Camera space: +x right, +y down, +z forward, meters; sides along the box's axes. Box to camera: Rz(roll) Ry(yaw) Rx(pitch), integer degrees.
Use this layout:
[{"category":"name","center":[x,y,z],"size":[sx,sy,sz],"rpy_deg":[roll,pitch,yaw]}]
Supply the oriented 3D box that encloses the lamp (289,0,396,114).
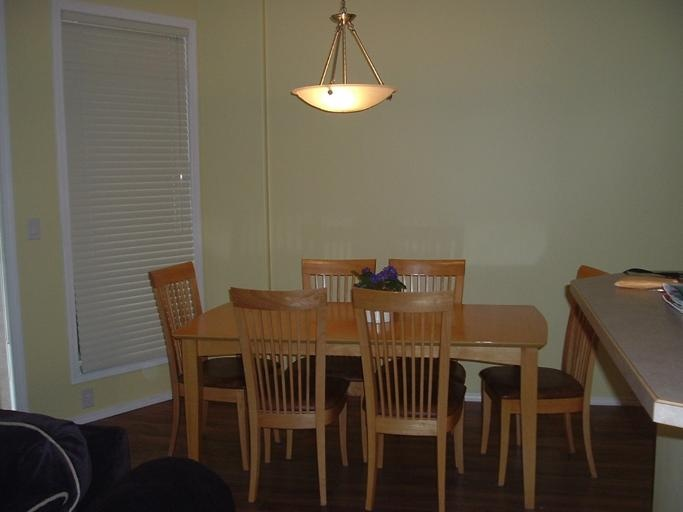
[{"category":"lamp","center":[0.076,-1.359,3.660],"size":[0.566,0.885,1.456],"rpy_deg":[2,11,5]}]
